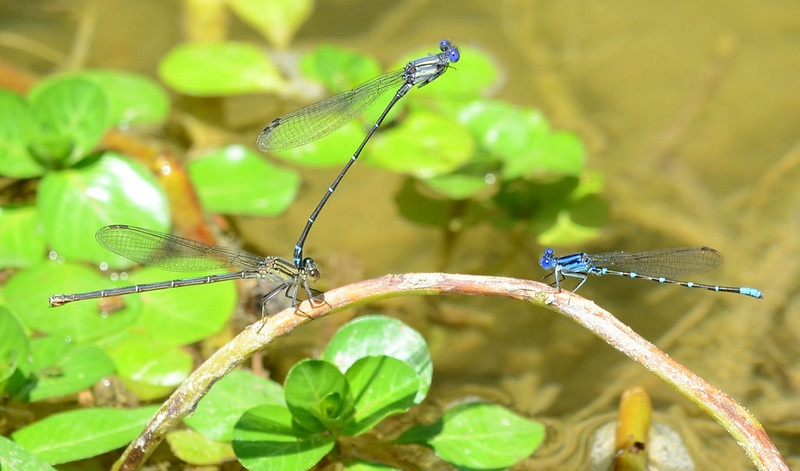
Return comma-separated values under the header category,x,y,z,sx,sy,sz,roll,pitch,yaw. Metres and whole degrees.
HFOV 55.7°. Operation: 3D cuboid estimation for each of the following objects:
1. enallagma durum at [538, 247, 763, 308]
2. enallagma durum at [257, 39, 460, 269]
category,x,y,z,sx,sy,sz,roll,pitch,yaw
enallagma durum,1.348,0.182,4.382,1.463,0.363,0.432,3,-5,-2
enallagma durum,-0.322,-0.534,4.544,0.872,1.584,0.440,15,-27,20
